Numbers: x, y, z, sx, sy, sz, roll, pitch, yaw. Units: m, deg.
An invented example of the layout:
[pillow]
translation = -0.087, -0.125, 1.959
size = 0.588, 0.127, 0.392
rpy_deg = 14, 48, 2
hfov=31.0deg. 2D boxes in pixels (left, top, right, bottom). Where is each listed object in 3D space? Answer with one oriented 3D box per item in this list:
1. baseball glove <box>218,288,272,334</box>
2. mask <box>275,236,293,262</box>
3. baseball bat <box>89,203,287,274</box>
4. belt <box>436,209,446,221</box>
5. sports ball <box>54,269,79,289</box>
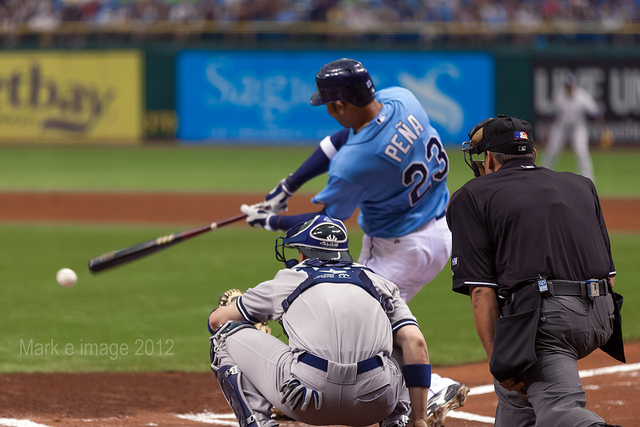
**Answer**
[baseball glove]
translation = -0.708, 0.895, 10.818
size = 0.520, 0.336, 0.177
rpy_deg = 8, -33, -11
[mask]
translation = -0.363, 0.323, 10.694
size = 0.183, 0.195, 0.093
rpy_deg = 3, 6, -1
[baseball bat]
translation = -1.536, 0.267, 12.373
size = 0.189, 0.142, 3.136
rpy_deg = 3, 11, 26
[belt]
translation = 1.159, 0.021, 11.050
size = 0.087, 0.062, 0.090
rpy_deg = 0, 6, 8
[sports ball]
translation = -2.509, 0.643, 11.497
size = 0.250, 0.139, 0.231
rpy_deg = 2, -4, 0
